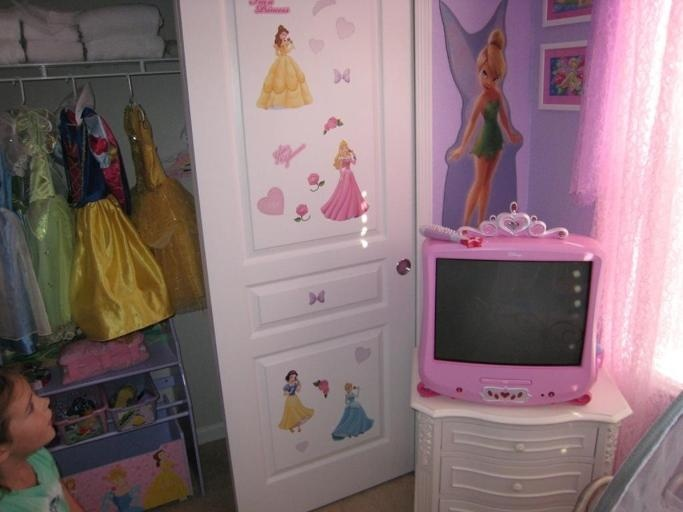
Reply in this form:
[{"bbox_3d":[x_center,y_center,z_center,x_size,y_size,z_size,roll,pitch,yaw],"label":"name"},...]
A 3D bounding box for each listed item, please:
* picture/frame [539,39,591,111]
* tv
[{"bbox_3d":[1.027,-0.820,2.562,0.013,0.283,0.306,-15,20,-26],"label":"picture/frame"},{"bbox_3d":[0.682,0.159,2.311,0.693,0.851,0.408,2,24,14],"label":"tv"}]
